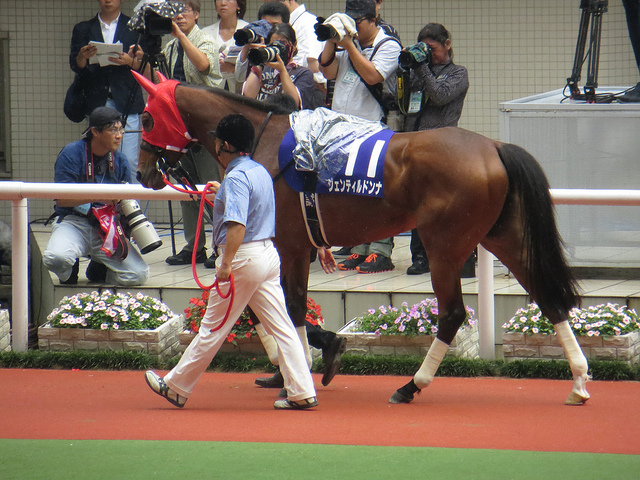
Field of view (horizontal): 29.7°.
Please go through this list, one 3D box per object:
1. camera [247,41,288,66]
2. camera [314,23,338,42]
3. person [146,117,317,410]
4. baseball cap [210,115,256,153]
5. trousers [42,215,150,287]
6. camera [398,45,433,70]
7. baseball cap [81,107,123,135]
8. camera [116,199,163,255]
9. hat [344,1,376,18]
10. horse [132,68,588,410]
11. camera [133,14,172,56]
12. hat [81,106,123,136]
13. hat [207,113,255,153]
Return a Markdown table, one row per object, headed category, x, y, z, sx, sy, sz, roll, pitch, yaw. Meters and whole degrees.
| category | x | y | z | sx | sy | sz | roll | pitch | yaw |
| --- | --- | --- | --- | --- | --- | --- | --- | --- | --- |
| camera | -0.406 | -1.400 | 9.020 | 0.208 | 0.120 | 0.268 | 10 | 14 | 32 |
| camera | 0.029 | -1.624 | 9.430 | 0.167 | 0.113 | 0.154 | 8 | 15 | 6 |
| person | -0.548 | 0.179 | 8.128 | 0.976 | 1.995 | 0.442 | 3 | 7 | 23 |
| baseball cap | -0.569 | -0.721 | 8.142 | 0.304 | 0.168 | 0.218 | 27 | 13 | 29 |
| trousers | -1.922 | 0.101 | 10.122 | 0.803 | 0.523 | 0.614 | 13 | 7 | -26 |
| camera | 0.771 | -1.477 | 9.738 | 0.226 | 0.195 | 0.533 | 3 | 6 | 25 |
| baseball cap | -1.834 | -1.032 | 10.250 | 0.316 | 0.152 | 0.217 | -18 | 1 | 8 |
| camera | -1.534 | -0.121 | 10.368 | 0.241 | 0.565 | 0.196 | -23 | -17 | -43 |
| hat | 0.315 | -1.886 | 9.848 | 0.249 | 0.068 | 0.151 | -7 | 24 | -23 |
| horse | 0.192 | -0.029 | 8.771 | 3.668 | 2.035 | 0.790 | 6 | 9 | 24 |
| camera | -1.384 | -1.748 | 10.199 | 0.232 | 0.311 | 0.329 | 0 | 6 | -7 |
| hat | -1.841 | -1.003 | 10.260 | 0.328 | 0.162 | 0.216 | -17 | 2 | 9 |
| hat | -0.570 | -0.747 | 8.141 | 0.316 | 0.179 | 0.225 | 31 | 19 | 19 |
